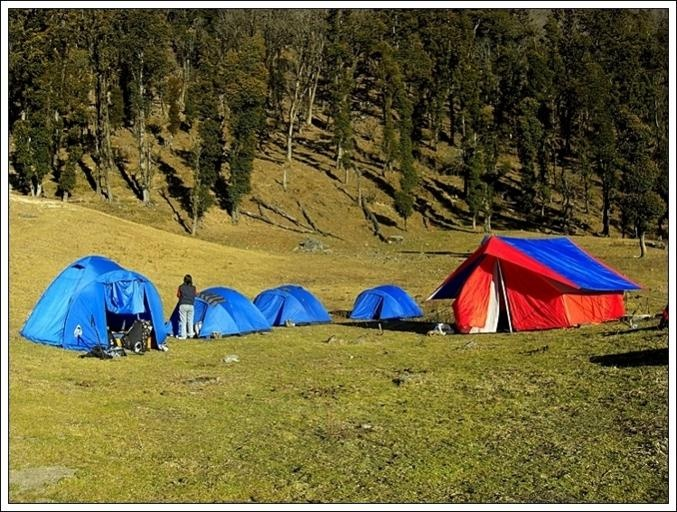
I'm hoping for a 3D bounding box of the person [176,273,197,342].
[{"bbox_3d":[-7.301,2.490,41.121,0.856,3.133,1.282,4,-1,-9],"label":"person"}]

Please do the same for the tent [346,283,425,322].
[{"bbox_3d":[2.599,2.721,47.399,3.820,1.905,1.628,4,-1,12],"label":"tent"}]

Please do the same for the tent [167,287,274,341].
[{"bbox_3d":[-5.602,3.178,42.422,4.231,2.547,4.214,0,13,-44],"label":"tent"}]

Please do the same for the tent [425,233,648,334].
[{"bbox_3d":[9.624,1.575,44.114,10.114,5.510,9.766,5,-11,-42],"label":"tent"}]

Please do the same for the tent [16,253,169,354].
[{"bbox_3d":[-11.596,2.081,40.751,6.579,4.315,6.505,2,3,-29],"label":"tent"}]
